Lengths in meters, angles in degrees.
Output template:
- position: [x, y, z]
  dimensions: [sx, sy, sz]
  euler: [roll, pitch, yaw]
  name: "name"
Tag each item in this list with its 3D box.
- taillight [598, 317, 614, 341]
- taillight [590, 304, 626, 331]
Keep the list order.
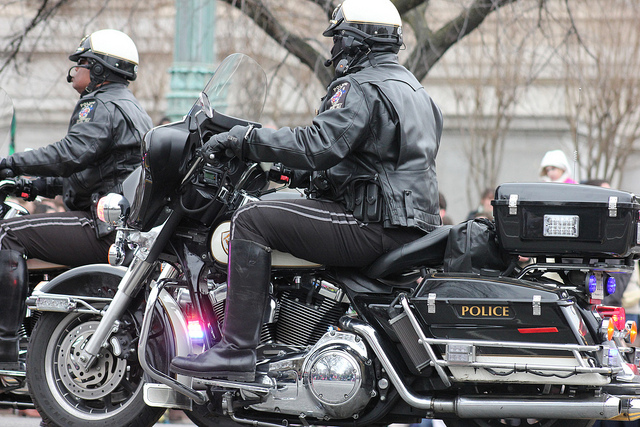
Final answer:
- position: [2.469, 0.982, 9.803]
  dimensions: [0.161, 0.154, 0.089]
  euler: [4, -1, -39]
  name: "taillight"
- position: [2.516, 0.884, 9.946]
  dimensions: [0.324, 0.164, 0.178]
  euler: [4, -4, 21]
  name: "taillight"
